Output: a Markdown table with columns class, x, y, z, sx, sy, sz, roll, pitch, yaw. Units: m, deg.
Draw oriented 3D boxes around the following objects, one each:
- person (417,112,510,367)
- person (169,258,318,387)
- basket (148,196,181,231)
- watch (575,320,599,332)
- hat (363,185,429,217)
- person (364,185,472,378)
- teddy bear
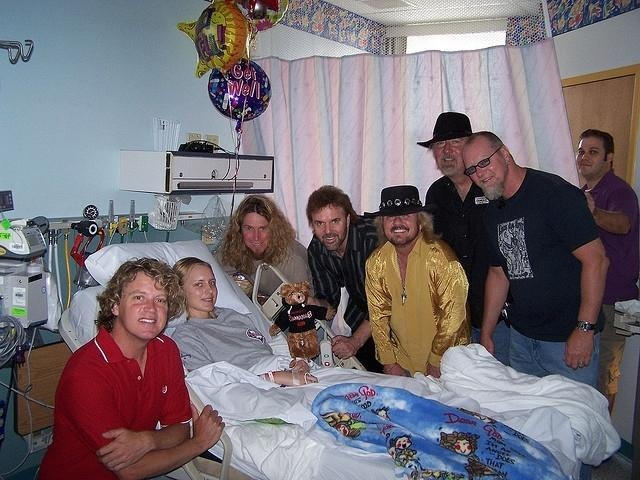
| class | x | y | z | sx | sy | sz | roll | pitch | yaw |
| --- | --- | --- | --- | --- | --- | --- | --- | --- | --- |
| person | 0.990 | 0.095 | 3.008 | 0.522 | 1.787 | 0.513 | -7 | 16 | 16 |
| person | -0.490 | 0.456 | 2.487 | 0.936 | 0.415 | 0.604 | 18 | 10 | 17 |
| basket | -1.158 | -0.211 | 3.349 | 0.166 | 0.258 | 0.250 | 5 | 4 | -33 |
| watch | 1.319 | 0.426 | 2.208 | 0.076 | 0.053 | 0.081 | 12 | -5 | -35 |
| hat | 0.454 | -0.231 | 2.661 | 0.337 | 0.187 | 0.219 | -2 | 3 | 15 |
| person | 0.603 | 0.389 | 2.800 | 0.618 | 1.516 | 0.483 | 1 | 21 | 26 |
| teddy bear | -0.113 | 0.514 | 2.856 | 0.434 | 0.536 | 0.173 | -6 | 16 | -9 |
